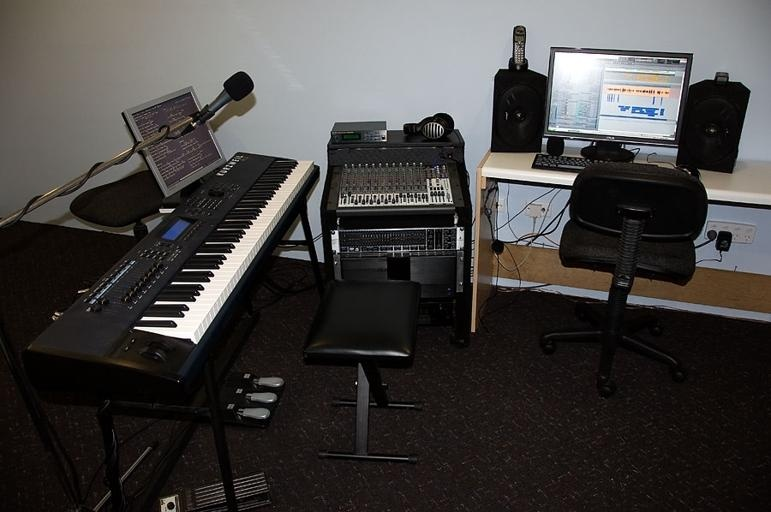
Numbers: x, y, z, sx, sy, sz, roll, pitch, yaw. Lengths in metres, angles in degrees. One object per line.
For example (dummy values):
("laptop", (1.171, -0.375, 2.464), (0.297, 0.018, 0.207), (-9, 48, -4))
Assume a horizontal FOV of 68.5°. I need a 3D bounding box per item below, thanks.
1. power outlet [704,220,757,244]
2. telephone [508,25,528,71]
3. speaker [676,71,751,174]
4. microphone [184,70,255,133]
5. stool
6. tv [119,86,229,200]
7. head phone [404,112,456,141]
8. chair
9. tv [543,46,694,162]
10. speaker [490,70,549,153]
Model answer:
("power outlet", (2.222, -0.158, 3.637), (0.284, 0.134, 0.030), (7, 29, 15))
("telephone", (0.835, -1.299, 3.526), (0.104, 0.245, 0.137), (4, 29, 12))
("speaker", (1.977, -0.801, 3.397), (0.323, 0.529, 0.285), (16, 25, 37))
("microphone", (-0.824, -0.777, 2.824), (0.162, 0.208, 0.459), (8, 30, 19))
("stool", (-0.117, 0.655, 3.058), (0.555, 0.744, 0.764), (0, 25, 2))
("tv", (-1.207, -0.724, 3.296), (0.512, 0.419, 0.046), (-13, 23, 26))
("head phone", (0.277, -0.826, 3.598), (0.241, 0.115, 0.207), (-1, 26, 6))
("chair", (1.496, 0.054, 3.466), (0.856, 1.309, 0.995), (16, 24, 34))
("tv", (1.436, -0.953, 3.441), (0.722, 0.548, 0.263), (5, 43, 13))
("speaker", (0.887, -0.912, 3.656), (0.359, 0.462, 0.293), (4, 14, 14))
